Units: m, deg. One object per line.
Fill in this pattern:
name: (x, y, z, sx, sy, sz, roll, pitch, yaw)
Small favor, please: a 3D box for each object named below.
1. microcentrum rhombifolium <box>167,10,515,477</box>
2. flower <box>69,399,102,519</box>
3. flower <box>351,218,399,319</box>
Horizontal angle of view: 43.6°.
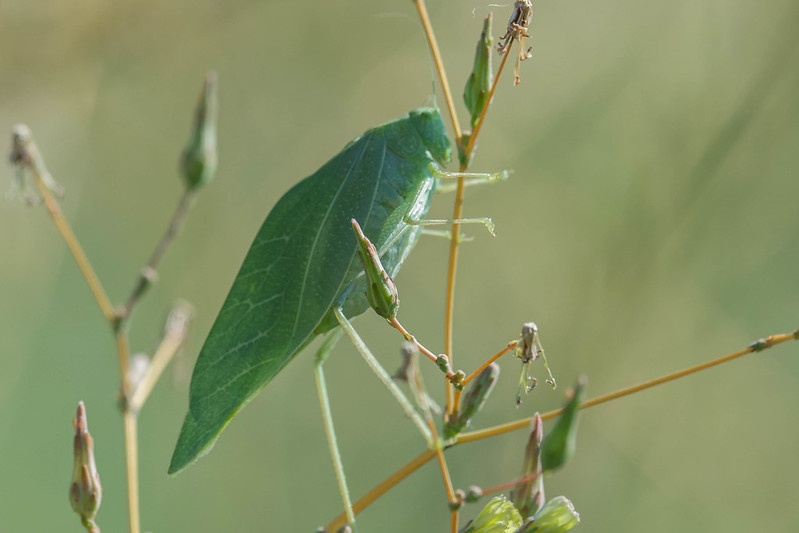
microcentrum rhombifolium: (-0.132, -0.020, 1.798, 0.822, 0.328, 0.383, -35, -61, -16)
flower: (-0.498, 0.313, 1.603, 0.050, 0.172, 0.171, 4, -41, -17)
flower: (-0.038, -0.002, 1.570, 0.048, 0.145, 0.134, -10, -38, 3)
